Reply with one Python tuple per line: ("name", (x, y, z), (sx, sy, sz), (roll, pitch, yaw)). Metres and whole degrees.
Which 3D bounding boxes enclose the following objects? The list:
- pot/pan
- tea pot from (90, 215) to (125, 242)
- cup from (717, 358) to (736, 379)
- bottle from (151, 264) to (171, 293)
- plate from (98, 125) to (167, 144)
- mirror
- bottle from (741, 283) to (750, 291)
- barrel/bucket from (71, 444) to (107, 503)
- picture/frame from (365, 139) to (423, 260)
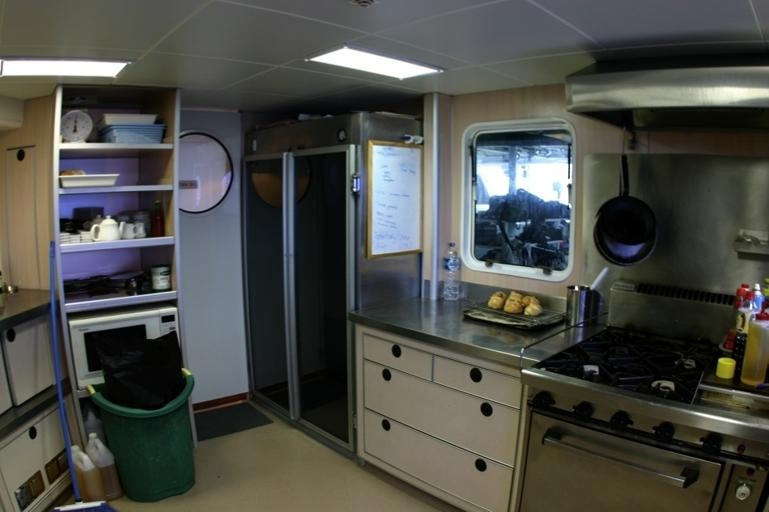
("pot/pan", (1.498, -0.263, 3.463), (0.385, 0.682, 0.209), (0, -3, 14))
("tea pot", (-2.029, -0.211, 4.036), (0.161, 0.164, 0.233), (2, 0, 39))
("cup", (1.854, 0.600, 3.019), (0.100, 0.098, 0.089), (1, 3, 33))
("bottle", (-1.697, 0.163, 4.228), (0.175, 0.191, 0.172), (-2, 4, -40))
("plate", (-1.854, -0.901, 4.093), (0.456, 0.136, 0.226), (-3, 9, -17))
("mirror", (1.041, -0.467, 4.182), (1.193, 1.569, 0.119), (3, 6, 38))
("bottle", (2.054, 0.170, 3.159), (0.030, 0.033, 0.030), (6, 11, 39))
("barrel/bucket", (-2.073, 1.510, 3.860), (0.212, 0.383, 0.077), (1, 9, 9))
("picture/frame", (0.085, -0.449, 4.269), (0.556, 0.851, 0.084), (-8, 12, -42))
